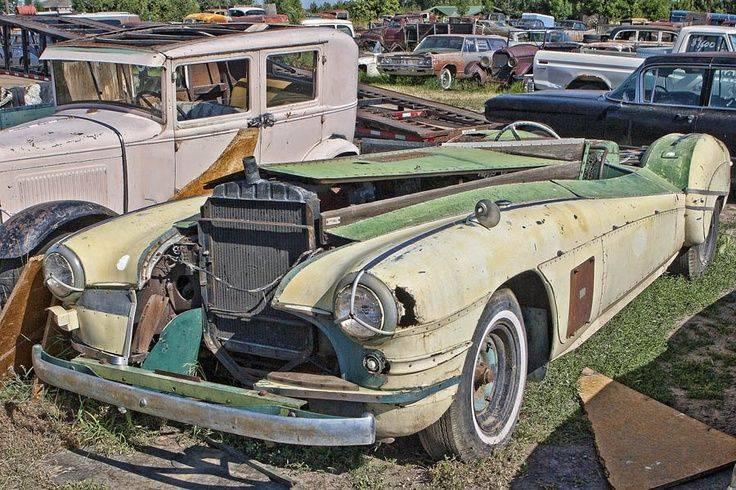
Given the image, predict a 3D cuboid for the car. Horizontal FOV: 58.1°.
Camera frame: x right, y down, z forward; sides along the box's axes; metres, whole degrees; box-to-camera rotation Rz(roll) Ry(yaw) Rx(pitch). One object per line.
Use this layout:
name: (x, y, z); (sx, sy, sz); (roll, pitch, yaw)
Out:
car: (0.548, -0.283, 5.313); (5.181, 1.555, 2.829); (-18, 18, -42)
